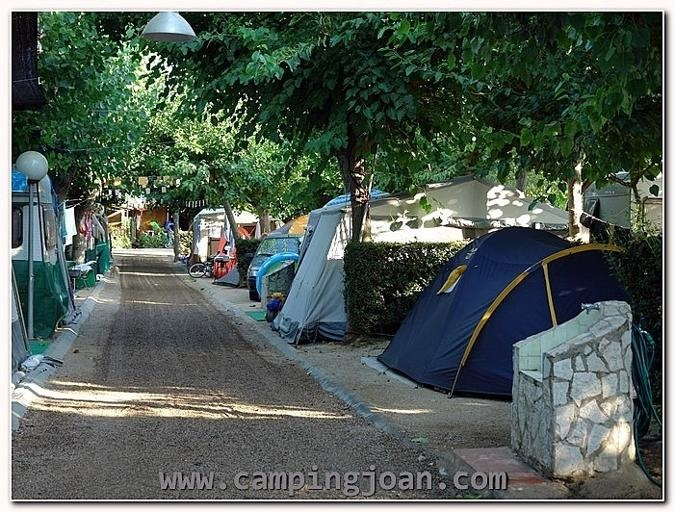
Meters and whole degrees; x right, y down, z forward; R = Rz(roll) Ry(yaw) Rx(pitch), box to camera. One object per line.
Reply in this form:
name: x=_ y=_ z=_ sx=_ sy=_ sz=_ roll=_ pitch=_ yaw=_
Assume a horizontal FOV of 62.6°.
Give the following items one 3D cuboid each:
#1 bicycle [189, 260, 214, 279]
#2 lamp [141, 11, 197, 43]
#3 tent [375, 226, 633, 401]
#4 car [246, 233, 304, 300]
bicycle: x=-6.963 y=0.627 z=28.600 sx=1.102 sy=0.878 sz=1.171 roll=3 pitch=2 yaw=-31
lamp: x=-2.504 y=-3.469 z=8.304 sx=0.755 sy=0.506 sz=0.554 roll=3 pitch=2 yaw=-13
tent: x=2.227 y=0.784 z=8.164 sx=2.580 sy=1.415 sz=2.555 roll=-7 pitch=3 yaw=-29
car: x=-1.875 y=0.264 z=20.937 sx=2.044 sy=2.204 sz=4.058 roll=-3 pitch=0 yaw=11
